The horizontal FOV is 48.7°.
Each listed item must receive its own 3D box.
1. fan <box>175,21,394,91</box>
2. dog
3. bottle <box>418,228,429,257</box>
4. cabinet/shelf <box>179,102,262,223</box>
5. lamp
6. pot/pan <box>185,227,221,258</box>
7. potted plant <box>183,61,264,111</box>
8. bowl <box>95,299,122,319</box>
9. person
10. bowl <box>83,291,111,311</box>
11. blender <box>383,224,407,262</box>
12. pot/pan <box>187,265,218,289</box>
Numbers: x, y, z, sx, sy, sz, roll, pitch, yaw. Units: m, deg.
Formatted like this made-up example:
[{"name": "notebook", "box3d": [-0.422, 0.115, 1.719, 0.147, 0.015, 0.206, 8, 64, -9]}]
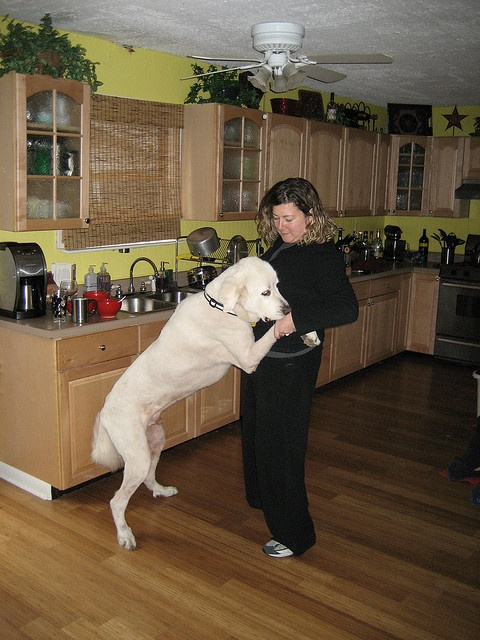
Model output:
[{"name": "fan", "box3d": [0.182, -1.458, 2.895, 0.927, 0.284, 0.901, 11, 21, 34]}, {"name": "dog", "box3d": [-0.206, 0.347, 2.238, 0.951, 1.099, 0.464, -6, 16, -4]}, {"name": "bottle", "box3d": [2.116, -0.874, 6.103, 0.106, 0.332, 0.226, 6, 12, 18]}, {"name": "cabinet/shelf", "box3d": [-0.094, -1.085, 3.682, 0.621, 0.773, 0.367, 0, 12, -9]}, {"name": "lamp", "box3d": [0.178, -1.087, 2.319, 0.215, 0.178, 0.307, 4, 11, 12]}, {"name": "pot/pan", "box3d": [-0.256, -0.520, 3.554, 0.185, 0.196, 0.189, 13, 16, 43]}, {"name": "potted plant", "box3d": [-0.106, -1.535, 3.738, 0.470, 0.169, 0.457, 0, 4, -26]}, {"name": "bowl", "box3d": [-0.690, -0.054, 2.783, 0.110, 0.069, 0.105, -1, 1, 0]}, {"name": "person", "box3d": [0.204, 0.235, 2.047, 0.356, 1.561, 0.602, 2, 12, -2]}, {"name": "bowl", "box3d": [-0.765, -0.096, 2.814, 0.099, 0.066, 0.096, 2, 9, 0]}, {"name": "blender", "box3d": [1.771, -0.877, 6.073, 0.242, 0.397, 0.444, 5, 12, 16]}, {"name": "pot/pan", "box3d": [-0.248, -0.302, 3.791, 0.214, 0.151, 0.162, -3, -9, -33]}]
